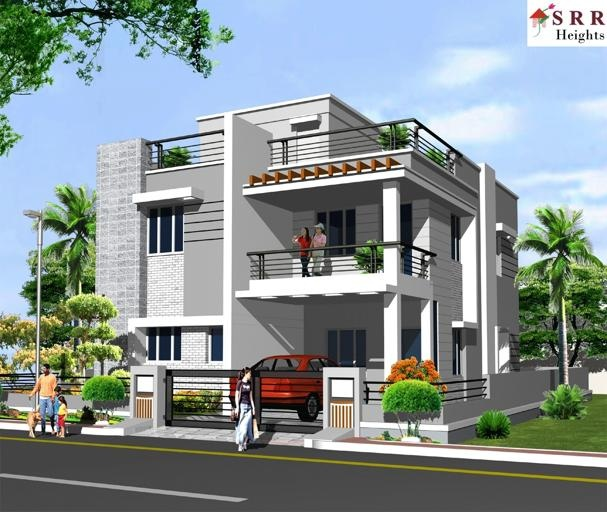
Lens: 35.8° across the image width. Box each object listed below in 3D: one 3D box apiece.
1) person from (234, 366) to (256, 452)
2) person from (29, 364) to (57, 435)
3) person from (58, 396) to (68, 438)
[{"bbox_3d":[-1.551,3.984,24.671,0.499,2.119,0.458,-1,-12,-4],"label":"person"},{"bbox_3d":[-7.764,4.233,28.210,0.653,2.045,1.398,2,-13,-17],"label":"person"},{"bbox_3d":[-7.170,4.734,27.865,0.233,1.185,0.871,1,-13,-16],"label":"person"}]
